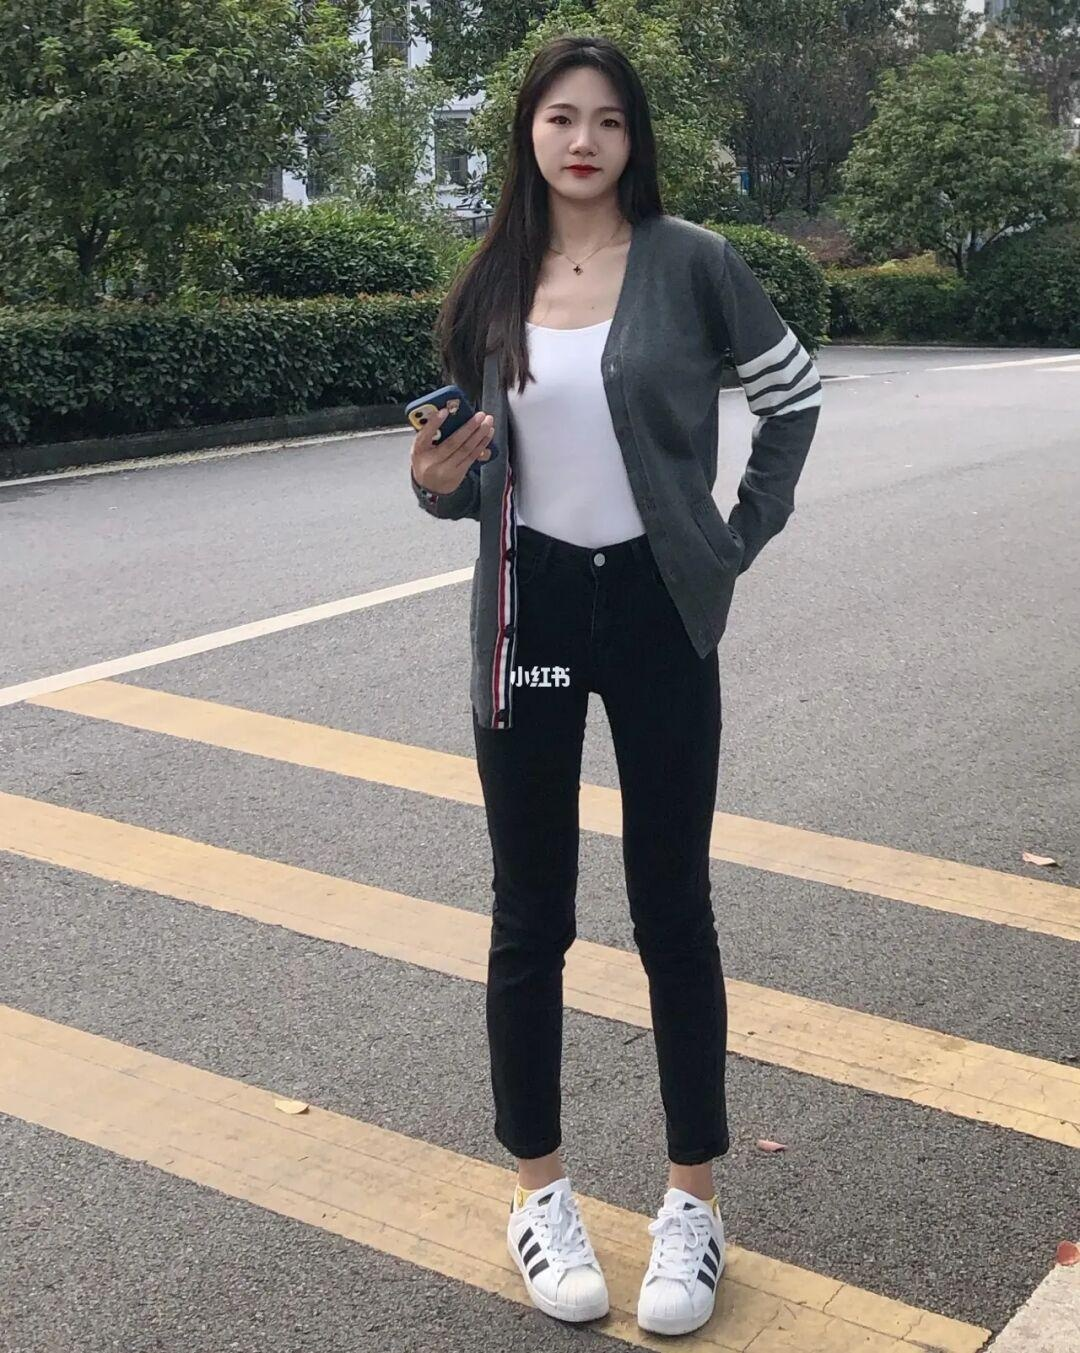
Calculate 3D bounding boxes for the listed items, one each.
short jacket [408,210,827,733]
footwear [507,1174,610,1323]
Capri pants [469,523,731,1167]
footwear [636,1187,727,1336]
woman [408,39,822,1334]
[{"bbox_3d":[0.157,-0.299,1.771,0.609,0.695,0.308,-8,14,-29],"label":"short jacket"},{"bbox_3d":[0.028,0.824,1.793,0.081,0.090,0.219,-10,11,-14],"label":"footwear"},{"bbox_3d":[0.095,0.292,1.817,0.384,0.894,0.219,0,2,7],"label":"Capri pants"},{"bbox_3d":[0.206,0.831,1.751,0.072,0.089,0.212,-1,9,15],"label":"footwear"},{"bbox_3d":[0.114,-0.018,1.704,0.687,1.784,0.576,1,-4,-7],"label":"woman"}]
